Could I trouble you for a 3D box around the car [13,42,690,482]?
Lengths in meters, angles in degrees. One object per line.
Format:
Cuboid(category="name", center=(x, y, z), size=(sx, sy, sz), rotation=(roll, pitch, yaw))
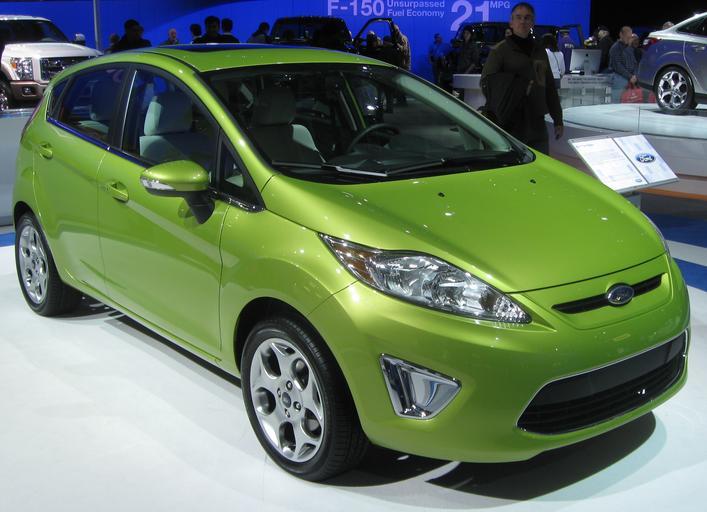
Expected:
Cuboid(category="car", center=(-0.293, -0.281, 3.029), size=(4.028, 1.816, 2.016), rotation=(17, 26, 36))
